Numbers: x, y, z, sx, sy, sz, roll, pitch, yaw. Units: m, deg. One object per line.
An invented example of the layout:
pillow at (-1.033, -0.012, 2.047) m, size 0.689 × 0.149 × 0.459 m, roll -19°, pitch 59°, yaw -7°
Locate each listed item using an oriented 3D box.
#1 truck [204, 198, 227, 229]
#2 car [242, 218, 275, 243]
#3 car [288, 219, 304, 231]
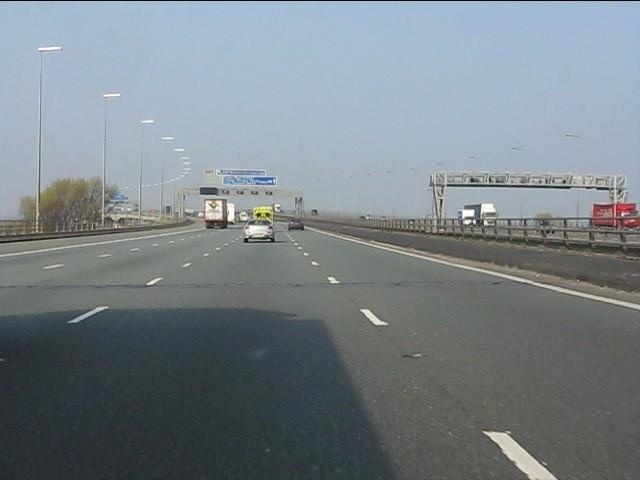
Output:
truck at (-11.779, -3.110, 84.980) m, size 2.501 × 3.615 × 5.691 m, roll 1°, pitch 3°, yaw 20°
car at (-3.789, -0.460, 42.852) m, size 1.639 × 1.364 × 2.645 m, roll 0°, pitch 5°, yaw 1°
car at (-2.979, -1.718, 84.504) m, size 1.714 × 1.453 × 3.027 m, roll 0°, pitch -2°, yaw -4°
